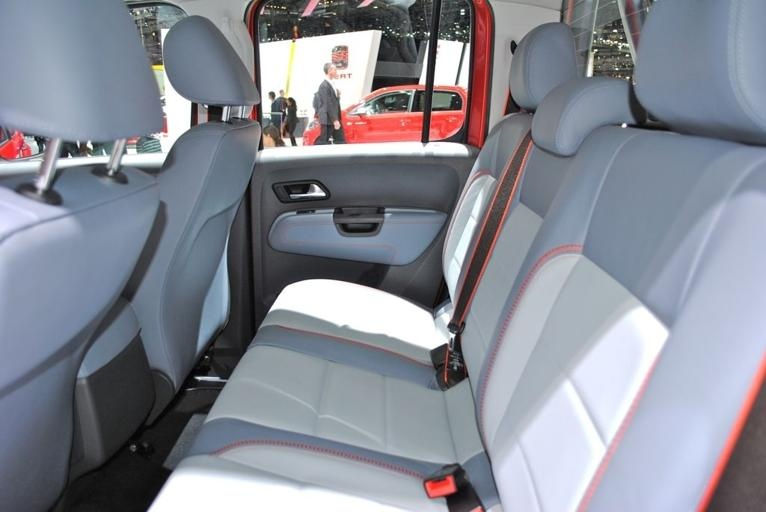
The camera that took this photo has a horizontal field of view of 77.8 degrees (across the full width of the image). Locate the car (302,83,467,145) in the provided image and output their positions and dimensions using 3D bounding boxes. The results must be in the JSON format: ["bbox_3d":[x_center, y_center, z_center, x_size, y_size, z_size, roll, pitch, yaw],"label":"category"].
[{"bbox_3d":[0.060,-1.310,5.009,1.528,0.827,0.935,5,15,10],"label":"car"}]
